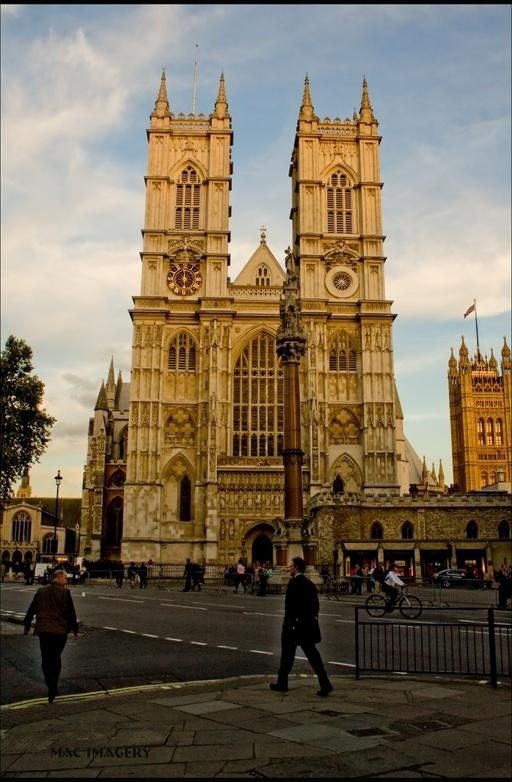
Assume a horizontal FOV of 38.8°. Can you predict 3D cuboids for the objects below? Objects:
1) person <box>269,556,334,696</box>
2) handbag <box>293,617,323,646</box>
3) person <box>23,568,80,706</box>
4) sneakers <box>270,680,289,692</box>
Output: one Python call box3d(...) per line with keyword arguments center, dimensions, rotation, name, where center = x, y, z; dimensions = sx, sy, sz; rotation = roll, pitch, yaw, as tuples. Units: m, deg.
box3d(center=(0.558, 2.896, 9.112), dimensions=(0.732, 1.579, 1.569), rotation=(-1, -12, 4), name="person")
box3d(center=(0.590, 2.894, 8.761), dimensions=(0.361, 0.488, 0.275), rotation=(2, -26, -7), name="handbag")
box3d(center=(-2.601, 3.008, 9.207), dimensions=(0.643, 1.492, 1.913), rotation=(3, -12, -16), name="person")
box3d(center=(0.263, 3.446, 8.486), dimensions=(0.198, 0.088, 0.245), rotation=(-1, -11, 0), name="sneakers")
